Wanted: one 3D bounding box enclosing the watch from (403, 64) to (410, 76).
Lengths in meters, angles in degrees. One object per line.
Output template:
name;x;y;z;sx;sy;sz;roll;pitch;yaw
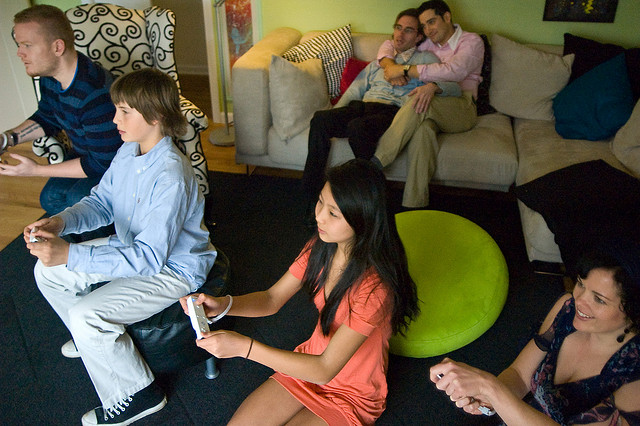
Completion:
watch;0.693;-1.156;3.909;0.041;0.072;0.065;3;4;4

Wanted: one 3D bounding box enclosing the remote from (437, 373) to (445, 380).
remote;0.484;0.655;1.943;0.021;0.030;0.021;-11;29;-18

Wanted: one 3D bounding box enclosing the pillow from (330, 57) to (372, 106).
pillow;0.259;-1.188;4.308;0.353;0.414;0.119;36;0;4

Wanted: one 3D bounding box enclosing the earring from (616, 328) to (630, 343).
earring;1.222;0.496;1.957;0.037;0.070;0.014;-4;27;-6

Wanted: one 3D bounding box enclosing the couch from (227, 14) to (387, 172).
couch;-0.083;-1.005;4.590;1.567;1.232;1.167;11;-7;5

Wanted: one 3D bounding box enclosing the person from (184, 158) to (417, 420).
person;-0.026;0.383;2.155;0.895;1.123;0.564;5;28;11

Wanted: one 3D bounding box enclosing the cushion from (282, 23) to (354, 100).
cushion;0.089;-1.367;4.271;0.550;0.584;0.177;-14;-5;-2

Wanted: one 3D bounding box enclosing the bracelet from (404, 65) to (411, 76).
bracelet;0.708;-1.151;3.907;0.042;0.071;0.067;3;24;18

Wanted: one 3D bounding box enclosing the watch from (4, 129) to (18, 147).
watch;-1.964;-0.492;3.120;0.085;0.069;0.091;-23;51;-15

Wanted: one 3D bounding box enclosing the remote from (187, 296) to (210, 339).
remote;-0.526;0.445;2.102;0.072;0.127;0.185;-10;30;-17

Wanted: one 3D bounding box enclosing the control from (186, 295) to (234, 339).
control;-0.488;0.428;2.166;0.149;0.055;0.214;52;31;16

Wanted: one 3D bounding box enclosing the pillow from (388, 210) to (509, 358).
pillow;0.803;0.435;3.002;0.635;0.422;0.901;6;30;12

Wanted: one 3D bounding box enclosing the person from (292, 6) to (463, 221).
person;0.466;-0.724;3.654;0.927;1.609;1.045;35;30;28

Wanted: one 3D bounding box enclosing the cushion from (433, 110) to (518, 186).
cushion;1.262;-0.550;3.969;0.607;0.398;0.723;6;30;13

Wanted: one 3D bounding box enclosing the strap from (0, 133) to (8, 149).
strap;-2.007;-0.457;3.096;0.066;0.072;0.014;-10;-21;31

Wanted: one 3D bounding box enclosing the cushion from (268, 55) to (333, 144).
cushion;-0.158;-1.024;4.103;0.309;0.697;0.831;7;29;27

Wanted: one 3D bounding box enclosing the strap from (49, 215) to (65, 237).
strap;-1.354;0.069;2.518;0.081;0.089;0.020;16;16;24

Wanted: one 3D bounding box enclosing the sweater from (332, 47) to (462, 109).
sweater;0.563;-1.096;4.066;0.823;0.458;0.256;3;-1;35

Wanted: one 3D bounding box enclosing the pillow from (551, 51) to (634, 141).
pillow;2.054;-0.838;3.641;0.184;0.644;0.619;9;-1;-25

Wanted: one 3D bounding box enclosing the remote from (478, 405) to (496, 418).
remote;0.666;0.799;1.958;0.048;0.022;0.066;29;1;-38

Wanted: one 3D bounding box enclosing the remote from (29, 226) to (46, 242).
remote;-1.352;0.097;2.336;0.072;0.081;0.029;1;2;6

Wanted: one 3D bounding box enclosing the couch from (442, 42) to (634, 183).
couch;1.702;-0.694;3.685;1.233;0.908;1.168;17;34;30

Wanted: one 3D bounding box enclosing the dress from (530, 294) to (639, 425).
dress;1.086;0.645;2.052;0.334;0.393;0.414;-25;37;-38

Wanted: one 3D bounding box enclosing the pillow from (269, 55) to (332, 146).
pillow;-0.151;-0.999;4.098;0.315;0.642;0.839;9;30;28
